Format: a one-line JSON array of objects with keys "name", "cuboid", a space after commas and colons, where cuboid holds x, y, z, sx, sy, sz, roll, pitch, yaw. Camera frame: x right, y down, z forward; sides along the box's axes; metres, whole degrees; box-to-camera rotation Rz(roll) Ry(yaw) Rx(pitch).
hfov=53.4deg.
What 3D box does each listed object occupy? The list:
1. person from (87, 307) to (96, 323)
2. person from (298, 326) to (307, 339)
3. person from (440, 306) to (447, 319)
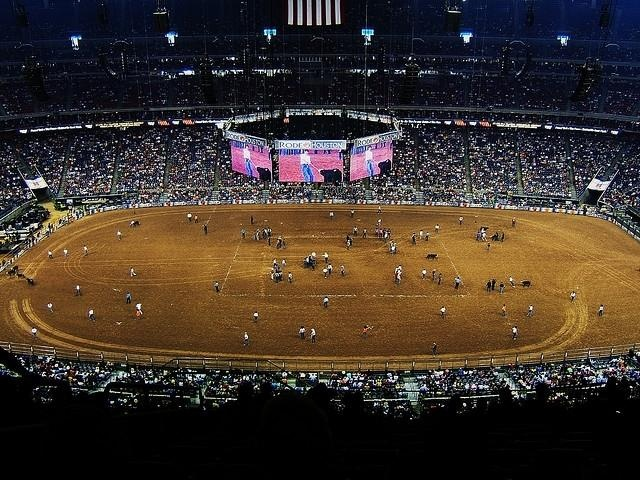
[{"name": "person", "cuboid": [-15.741, 5.096, 44.277, 0.421, 0.496, 1.198, 7, 31, -20]}, {"name": "person", "cuboid": [-1.115, 5.903, 41.777, 0.584, 0.813, 1.242, 1, 28, -1]}, {"name": "person", "cuboid": [8.606, 4.974, 44.355, 0.413, 0.464, 0.758, 3, 20, 10]}]
